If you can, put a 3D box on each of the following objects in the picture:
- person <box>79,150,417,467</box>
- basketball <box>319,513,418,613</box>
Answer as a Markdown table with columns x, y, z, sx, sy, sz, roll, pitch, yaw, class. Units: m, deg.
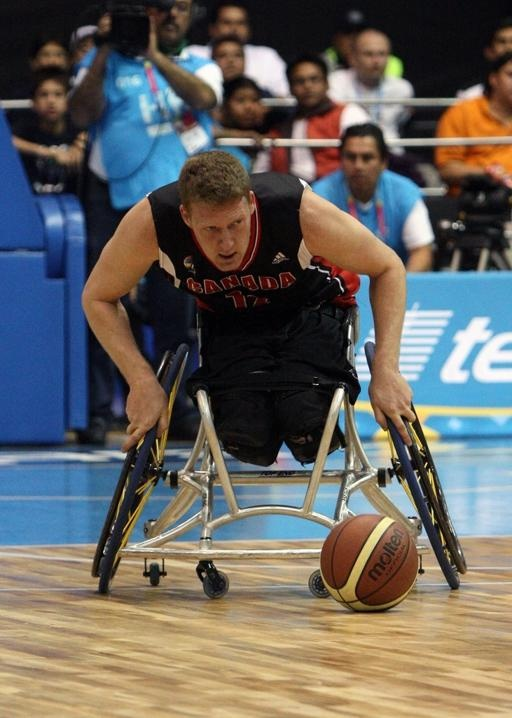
| x | y | z | sx | sy | sz | roll | pitch | yaw | class |
| --- | --- | --- | --- | --- | --- | --- | --- | --- | --- |
| -0.034 | -0.075 | 3.049 | 1.247 | 1.389 | 0.848 | -6 | 29 | 3 | person |
| 0.338 | 0.622 | 2.433 | 0.282 | 0.281 | 0.212 | -8 | 39 | -9 | basketball |
